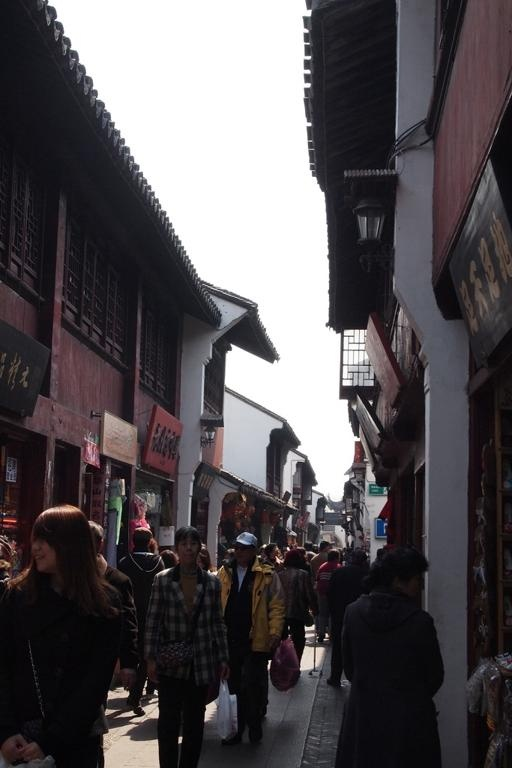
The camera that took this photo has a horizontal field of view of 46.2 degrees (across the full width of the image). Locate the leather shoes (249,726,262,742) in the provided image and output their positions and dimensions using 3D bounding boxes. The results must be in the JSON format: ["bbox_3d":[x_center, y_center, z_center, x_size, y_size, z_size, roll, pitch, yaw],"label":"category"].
[{"bbox_3d":[-0.003,3.348,5.752,0.122,0.147,0.158,4,-18,-6],"label":"leather shoes"}]

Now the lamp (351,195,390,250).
[{"bbox_3d":[1.391,-2.012,7.301,0.344,0.667,0.386,-10,18,-29],"label":"lamp"}]

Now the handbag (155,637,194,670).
[{"bbox_3d":[-0.522,1.682,3.900,0.229,0.263,0.122,-3,-26,-3],"label":"handbag"}]
